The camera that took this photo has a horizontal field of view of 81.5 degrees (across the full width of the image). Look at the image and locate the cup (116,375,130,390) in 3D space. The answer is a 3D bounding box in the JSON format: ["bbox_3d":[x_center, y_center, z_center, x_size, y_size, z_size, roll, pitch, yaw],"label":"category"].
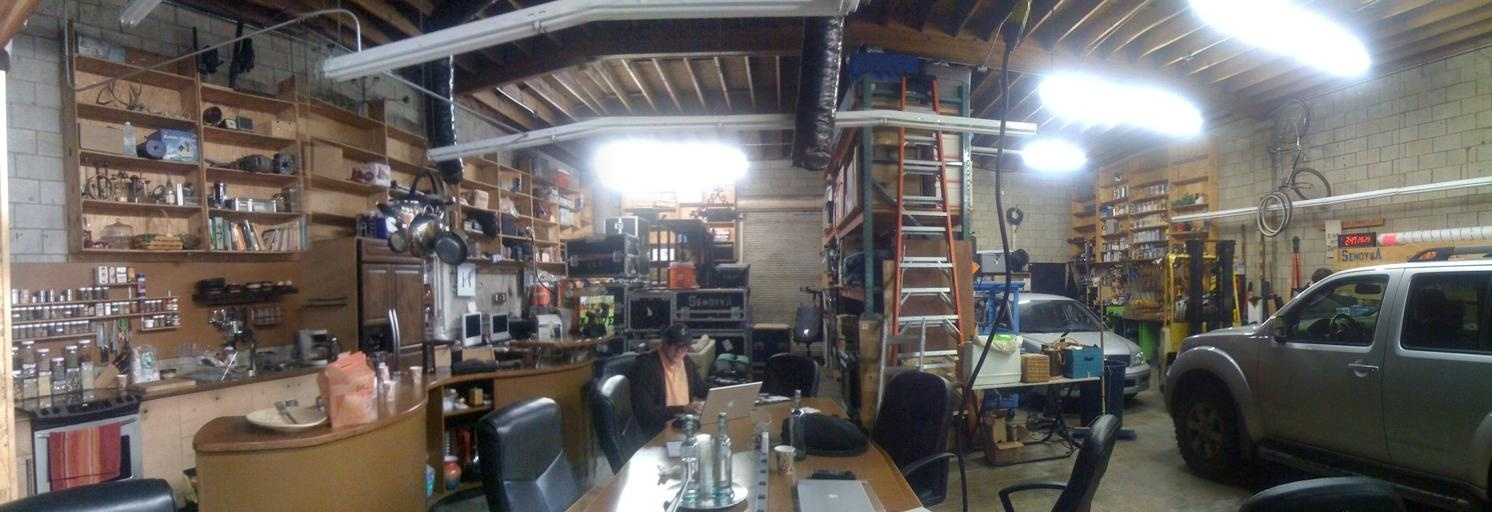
[{"bbox_3d":[-13.690,2.775,19.012,0.238,0.255,0.116,-2,-5,-18],"label":"cup"}]

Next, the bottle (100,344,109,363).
[{"bbox_3d":[-14.230,2.189,19.182,0.257,0.328,0.056,-4,-5,2],"label":"bottle"}]

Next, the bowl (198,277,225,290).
[{"bbox_3d":[-12.160,0.641,19.662,0.480,0.182,0.305,-5,0,-17],"label":"bowl"}]

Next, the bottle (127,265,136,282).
[{"bbox_3d":[-13.706,0.414,19.338,0.191,0.330,0.047,-2,-5,-25],"label":"bottle"}]

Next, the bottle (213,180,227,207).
[{"bbox_3d":[-12.010,-1.387,19.734,0.290,0.578,0.110,-3,-5,-23],"label":"bottle"}]

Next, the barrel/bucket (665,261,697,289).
[{"bbox_3d":[-1.729,0.551,23.358,0.926,0.521,0.776,3,-3,-21],"label":"barrel/bucket"}]

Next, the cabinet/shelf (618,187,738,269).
[{"bbox_3d":[-2.056,-0.799,24.517,3.607,2.112,1.473,-1,4,-1],"label":"cabinet/shelf"}]

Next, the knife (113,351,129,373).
[{"bbox_3d":[-13.878,2.372,19.202,0.319,0.422,0.043,-4,-5,2],"label":"knife"}]

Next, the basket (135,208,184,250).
[{"bbox_3d":[-13.240,-0.576,19.426,0.772,1.008,1.104,-14,-14,41],"label":"basket"}]

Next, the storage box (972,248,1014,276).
[{"bbox_3d":[6.153,0.146,21.544,1.134,0.511,0.715,1,-5,-32],"label":"storage box"}]

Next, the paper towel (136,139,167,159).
[{"bbox_3d":[-13.257,-2.359,19.329,0.599,0.296,0.486,8,8,32],"label":"paper towel"}]

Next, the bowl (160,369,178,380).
[{"bbox_3d":[-12.798,2.634,19.178,0.313,0.097,0.261,-1,3,-20],"label":"bowl"}]

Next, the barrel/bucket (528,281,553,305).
[{"bbox_3d":[-5.488,1.037,23.105,0.871,0.537,0.521,-1,0,-5],"label":"barrel/bucket"}]
